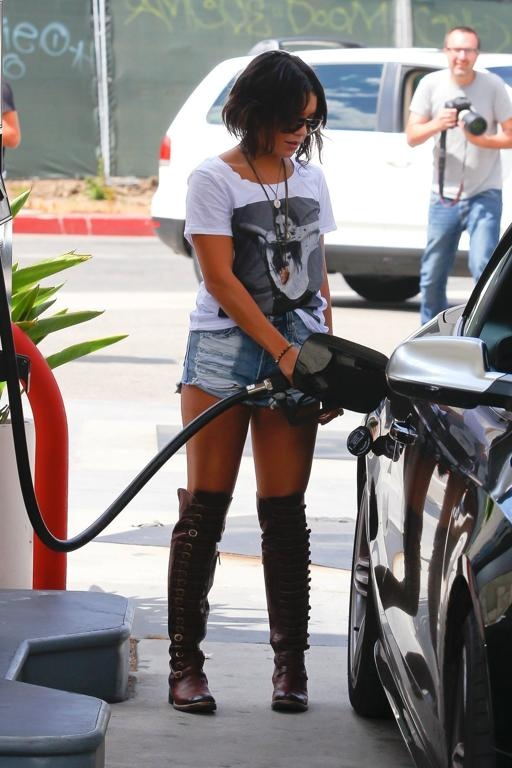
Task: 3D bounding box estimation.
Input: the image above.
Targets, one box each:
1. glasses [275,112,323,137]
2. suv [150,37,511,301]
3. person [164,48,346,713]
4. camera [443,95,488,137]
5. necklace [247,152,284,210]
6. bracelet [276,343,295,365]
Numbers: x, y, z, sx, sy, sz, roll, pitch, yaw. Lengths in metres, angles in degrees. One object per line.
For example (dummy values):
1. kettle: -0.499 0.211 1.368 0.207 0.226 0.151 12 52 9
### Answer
1. glasses: 0.111 -0.606 2.286 0.069 0.019 0.069 -21 -7 35
2. suv: 0.431 -1.830 8.369 3.385 1.510 1.805 -1 4 21
3. person: 0.007 0.020 2.431 0.470 1.634 0.435 7 8 -5
4. camera: 1.337 -1.698 6.197 0.278 0.232 0.166 7 8 3
5. necklace: 0.021 -0.490 2.360 0.114 0.129 0.078 4 8 -17
6. bracelet: 0.063 -0.070 2.250 0.014 0.042 0.033 46 -1 0
